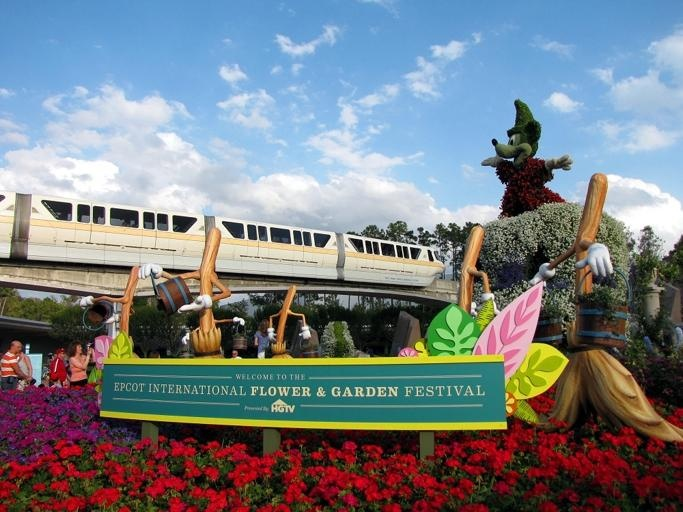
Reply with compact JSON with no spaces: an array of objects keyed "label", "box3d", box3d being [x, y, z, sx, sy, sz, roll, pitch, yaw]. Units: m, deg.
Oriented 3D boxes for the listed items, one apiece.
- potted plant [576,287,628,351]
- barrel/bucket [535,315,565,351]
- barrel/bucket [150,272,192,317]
[{"label":"potted plant","box3d":[3.455,0.915,7.392,0.626,0.642,0.669,7,-11,5]},{"label":"barrel/bucket","box3d":[2.999,1.157,8.141,0.489,0.370,0.493,1,-11,0]},{"label":"barrel/bucket","box3d":[-2.574,0.605,8.412,0.442,0.470,0.592,-22,15,-31]}]
